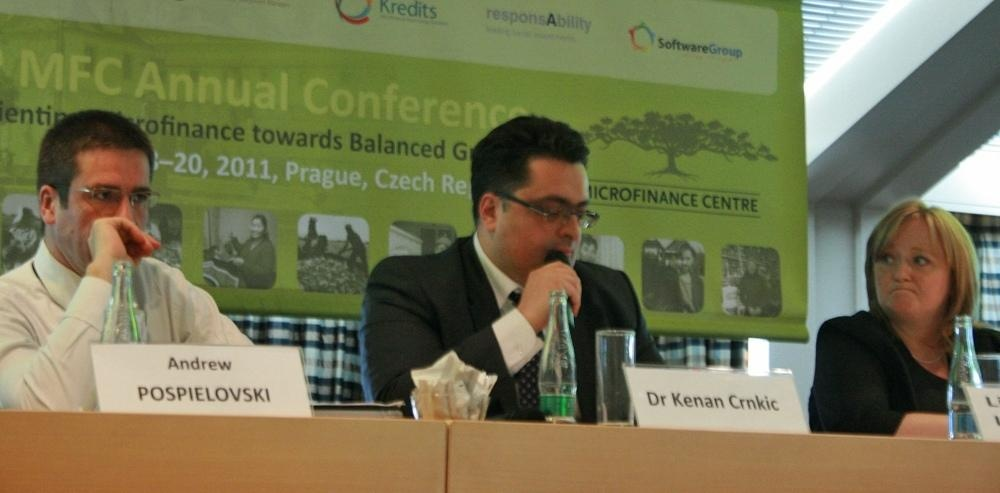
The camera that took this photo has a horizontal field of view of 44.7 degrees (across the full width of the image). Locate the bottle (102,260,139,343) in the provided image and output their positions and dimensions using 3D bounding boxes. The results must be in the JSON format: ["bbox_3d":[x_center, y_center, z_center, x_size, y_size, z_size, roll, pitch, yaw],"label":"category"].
[{"bbox_3d":[-1.374,0.203,4.426,0.138,0.315,0.271,4,-10,-17],"label":"bottle"}]

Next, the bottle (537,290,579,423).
[{"bbox_3d":[0.215,0.414,4.556,0.130,0.483,0.203,-1,-10,11],"label":"bottle"}]

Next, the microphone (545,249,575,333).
[{"bbox_3d":[0.273,0.171,5.310,0.090,0.397,0.119,-8,-8,0],"label":"microphone"}]

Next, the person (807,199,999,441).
[{"bbox_3d":[1.782,0.370,5.458,1.022,1.230,1.127,0,-19,12],"label":"person"}]

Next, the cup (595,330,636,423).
[{"bbox_3d":[0.423,0.472,4.434,0.139,0.345,0.137,1,-10,0],"label":"cup"}]

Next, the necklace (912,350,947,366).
[{"bbox_3d":[1.945,0.503,5.468,0.167,0.054,0.041,2,-10,-9],"label":"necklace"}]
